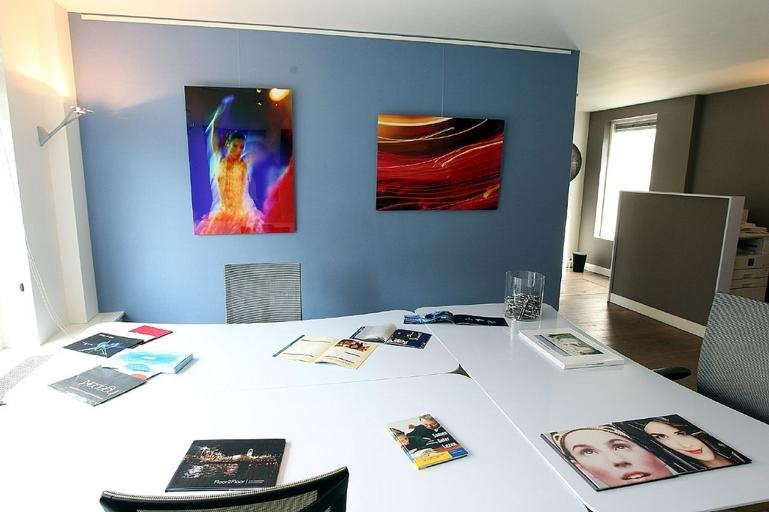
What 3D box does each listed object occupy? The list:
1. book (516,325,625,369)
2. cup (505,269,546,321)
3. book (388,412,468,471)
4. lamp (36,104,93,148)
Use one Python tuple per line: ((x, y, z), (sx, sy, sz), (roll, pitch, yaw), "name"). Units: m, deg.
((1.214, 0.602, 3.232), (0.342, 0.048, 0.457), (-1, 14, -6), "book")
((0.968, 0.263, 3.471), (0.333, 0.361, 0.326), (0, 8, 0), "cup")
((0.206, 0.917, 2.436), (0.249, 0.132, 0.338), (-9, 14, -35), "book")
((-2.652, -0.986, 3.928), (0.229, 0.228, 0.352), (32, 52, 12), "lamp")
